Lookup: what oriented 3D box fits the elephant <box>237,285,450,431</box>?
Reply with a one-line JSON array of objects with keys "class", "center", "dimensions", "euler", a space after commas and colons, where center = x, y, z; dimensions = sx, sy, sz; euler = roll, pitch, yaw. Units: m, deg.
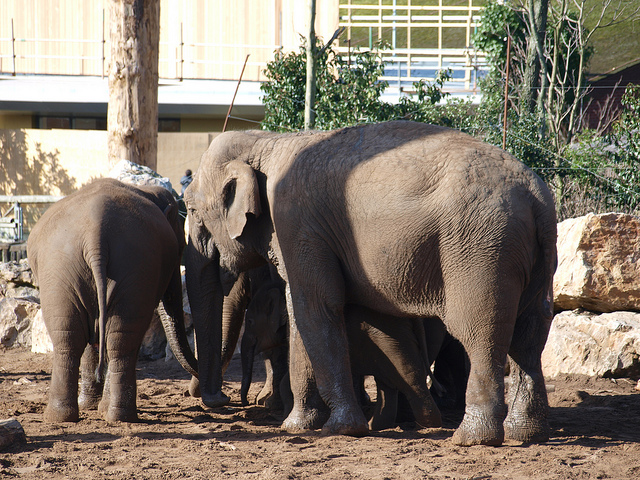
[{"class": "elephant", "center": [0.181, 1.523, 20.251], "dimensions": [2.805, 2.252, 1.447], "euler": [-1, 7, 15]}]

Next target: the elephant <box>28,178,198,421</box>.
[{"class": "elephant", "center": [-3.257, 0.558, 21.536], "dimensions": [1.843, 3.544, 4.049], "euler": [1, 10, -9]}]
